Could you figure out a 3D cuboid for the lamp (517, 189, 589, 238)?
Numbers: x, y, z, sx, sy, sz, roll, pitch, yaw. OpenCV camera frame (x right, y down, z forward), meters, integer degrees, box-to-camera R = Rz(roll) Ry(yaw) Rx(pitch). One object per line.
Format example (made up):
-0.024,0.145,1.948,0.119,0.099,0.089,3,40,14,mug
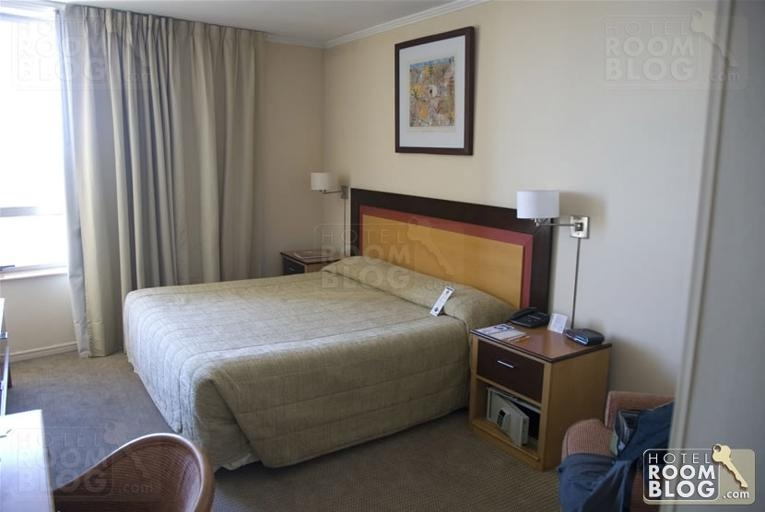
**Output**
1.060,-0.247,3.424,0.457,0.321,0.236,-2,6,-13,lamp

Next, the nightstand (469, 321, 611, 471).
0.955,0.825,3.395,0.574,0.666,0.686,-7,12,-37,nightstand

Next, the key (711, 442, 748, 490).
0.566,0.345,0.894,0.072,0.085,0.009,-4,13,-9,key

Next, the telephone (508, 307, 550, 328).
0.945,0.393,3.491,0.170,0.049,0.134,-10,15,-36,telephone

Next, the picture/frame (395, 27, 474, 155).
0.424,-1.290,4.216,0.074,1.060,1.079,-6,8,-37,picture/frame

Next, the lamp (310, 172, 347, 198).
-0.528,-0.689,5.328,0.404,0.263,0.219,-6,8,-42,lamp

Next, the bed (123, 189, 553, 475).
-0.521,0.314,4.188,2.480,1.180,2.388,-6,14,-29,bed
